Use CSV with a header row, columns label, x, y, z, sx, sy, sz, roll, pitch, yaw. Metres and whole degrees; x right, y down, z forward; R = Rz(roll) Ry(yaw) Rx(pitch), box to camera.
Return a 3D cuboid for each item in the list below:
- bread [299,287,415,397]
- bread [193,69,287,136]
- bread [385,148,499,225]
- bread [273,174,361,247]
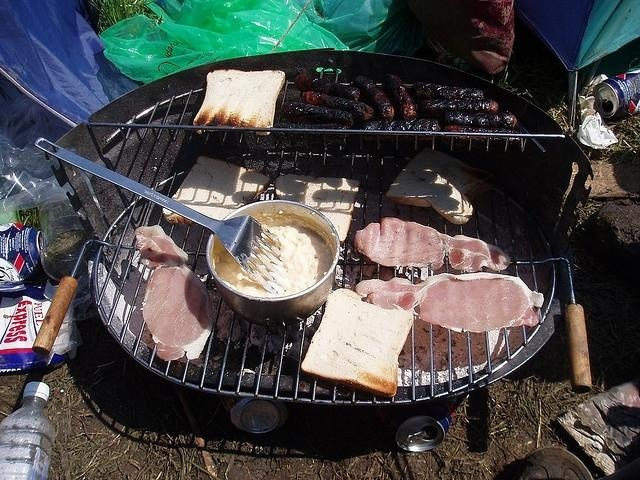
label,x,y,z,sx,sy,sz,roll,pitch,yaw
bread,0.198,0.530,2.481,0.514,0.164,0.442,15,80,3
bread,-0.497,-0.887,2.960,0.478,0.123,0.540,3,60,11
bread,0.799,-0.386,3.175,0.491,0.129,0.539,28,62,19
bread,0.027,-0.278,3.079,0.439,0.116,0.475,3,57,7
